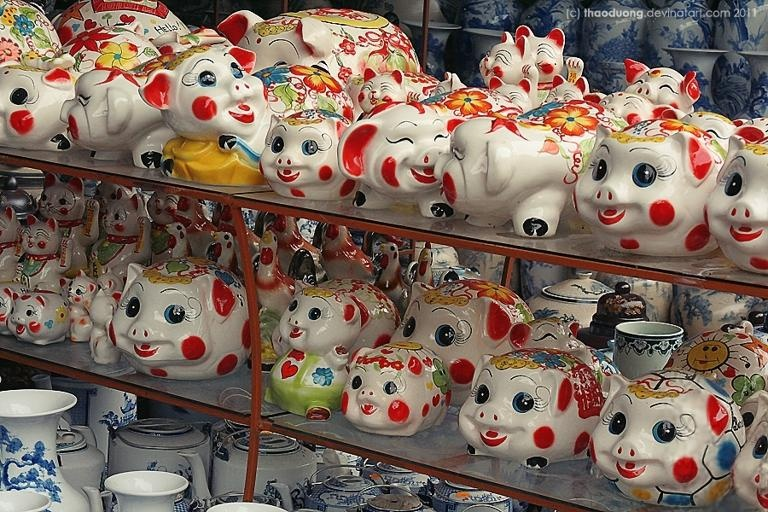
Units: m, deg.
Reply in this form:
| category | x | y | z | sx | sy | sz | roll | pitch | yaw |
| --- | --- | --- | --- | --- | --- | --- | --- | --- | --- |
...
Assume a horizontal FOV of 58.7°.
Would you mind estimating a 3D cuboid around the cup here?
| category | x | y | z | sx | sy | sz | roll | pitch | yaw |
| --- | --- | --- | --- | --- | --- | --- | --- | --- | --- |
| cup | 0.606 | 0.216 | 1.599 | 0.142 | 0.168 | 0.168 | 1 | 7 | 7 |
